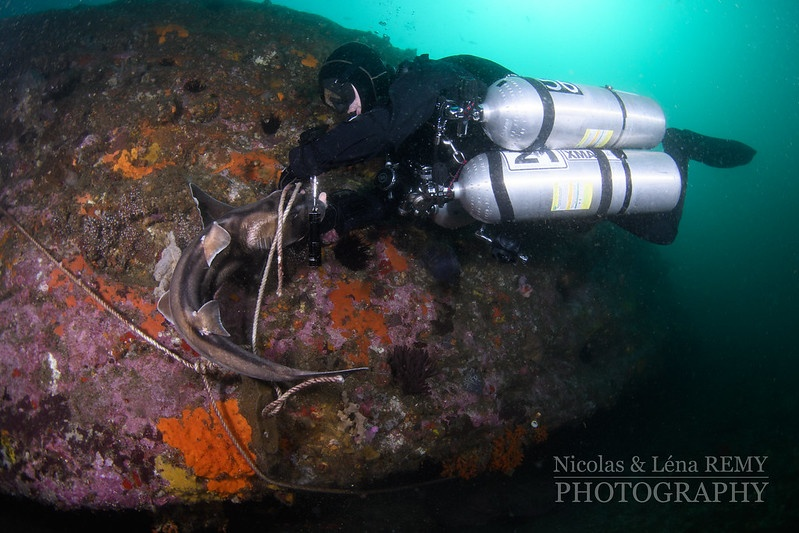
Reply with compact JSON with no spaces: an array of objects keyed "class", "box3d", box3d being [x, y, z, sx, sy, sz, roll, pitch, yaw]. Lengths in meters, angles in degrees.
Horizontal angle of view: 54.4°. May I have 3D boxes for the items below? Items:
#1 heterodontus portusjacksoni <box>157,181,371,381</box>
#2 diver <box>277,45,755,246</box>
[{"class":"heterodontus portusjacksoni","box3d":[-2.879,0.519,15.783,3.789,3.831,3.578,-25,64,-14]},{"class":"diver","box3d":[2.288,-3.018,16.620,8.215,3.544,2.982,6,87,-3]}]
